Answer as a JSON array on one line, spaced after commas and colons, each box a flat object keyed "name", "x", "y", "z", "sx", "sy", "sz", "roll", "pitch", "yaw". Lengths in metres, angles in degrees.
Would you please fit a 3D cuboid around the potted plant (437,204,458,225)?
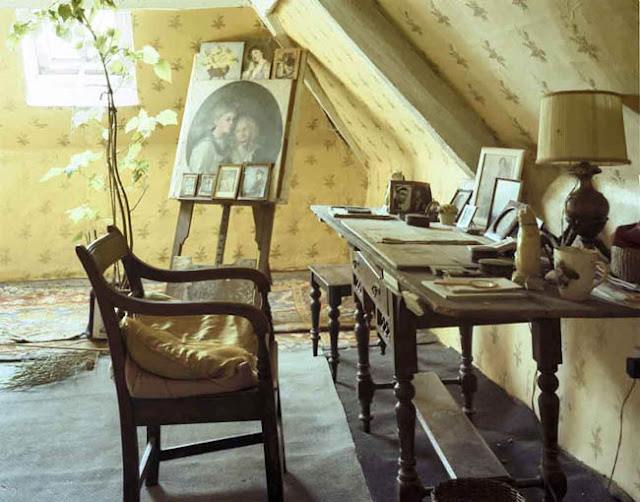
[{"name": "potted plant", "x": 0.662, "y": -0.184, "z": 2.689, "sx": 0.103, "sy": 0.071, "sz": 0.101, "roll": 0, "pitch": -3, "yaw": 2}]

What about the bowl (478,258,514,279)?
[{"name": "bowl", "x": 0.577, "y": 0.059, "z": 1.704, "sx": 0.109, "sy": 0.056, "sz": 0.116, "roll": 4, "pitch": 3, "yaw": 0}]

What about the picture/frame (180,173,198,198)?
[{"name": "picture/frame", "x": -0.837, "y": -0.414, "z": 3.336, "sx": 0.142, "sy": 0.158, "sz": 0.070, "roll": 5, "pitch": 4, "yaw": 17}]

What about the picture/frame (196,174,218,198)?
[{"name": "picture/frame", "x": -0.708, "y": -0.402, "z": 3.283, "sx": 0.169, "sy": 0.168, "sz": 0.019, "roll": 2, "pitch": -16, "yaw": 19}]

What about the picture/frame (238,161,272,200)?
[{"name": "picture/frame", "x": -0.394, "y": -0.421, "z": 3.207, "sx": 0.246, "sy": 0.281, "sz": 0.038, "roll": 5, "pitch": -25, "yaw": 8}]

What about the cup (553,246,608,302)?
[{"name": "cup", "x": 0.770, "y": 0.074, "z": 1.544, "sx": 0.182, "sy": 0.139, "sz": 0.143, "roll": 2, "pitch": 0, "yaw": 8}]

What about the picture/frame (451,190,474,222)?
[{"name": "picture/frame", "x": 0.744, "y": -0.227, "z": 2.705, "sx": 0.070, "sy": 0.119, "sz": 0.174, "roll": 9, "pitch": 12, "yaw": -5}]

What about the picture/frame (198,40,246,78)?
[{"name": "picture/frame", "x": -0.647, "y": -1.268, "z": 3.480, "sx": 0.274, "sy": 0.193, "sz": 0.037, "roll": 4, "pitch": -7, "yaw": 17}]
